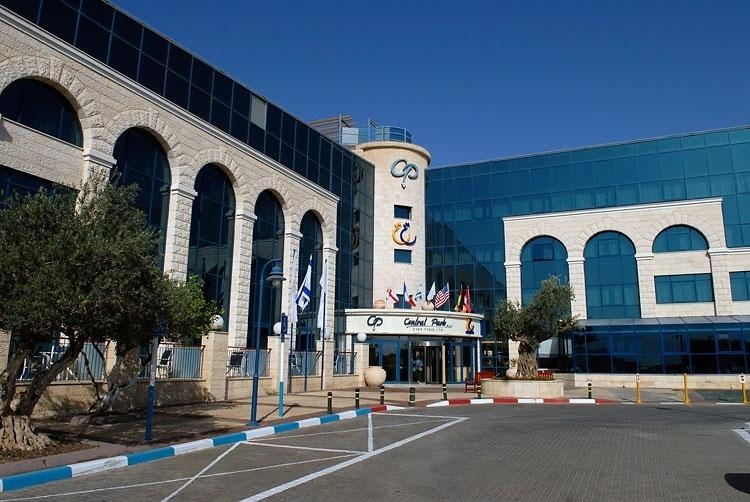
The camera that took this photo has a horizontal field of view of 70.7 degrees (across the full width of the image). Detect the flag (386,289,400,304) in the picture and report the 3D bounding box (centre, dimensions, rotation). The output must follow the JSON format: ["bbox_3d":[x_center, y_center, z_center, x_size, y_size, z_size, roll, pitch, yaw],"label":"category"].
[{"bbox_3d":[1.517,3.910,45.753,0.979,0.350,2.643,21,-5,17],"label":"flag"}]

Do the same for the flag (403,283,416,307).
[{"bbox_3d":[2.998,3.891,45.953,0.142,1.922,1.688,-15,-27,27],"label":"flag"}]
